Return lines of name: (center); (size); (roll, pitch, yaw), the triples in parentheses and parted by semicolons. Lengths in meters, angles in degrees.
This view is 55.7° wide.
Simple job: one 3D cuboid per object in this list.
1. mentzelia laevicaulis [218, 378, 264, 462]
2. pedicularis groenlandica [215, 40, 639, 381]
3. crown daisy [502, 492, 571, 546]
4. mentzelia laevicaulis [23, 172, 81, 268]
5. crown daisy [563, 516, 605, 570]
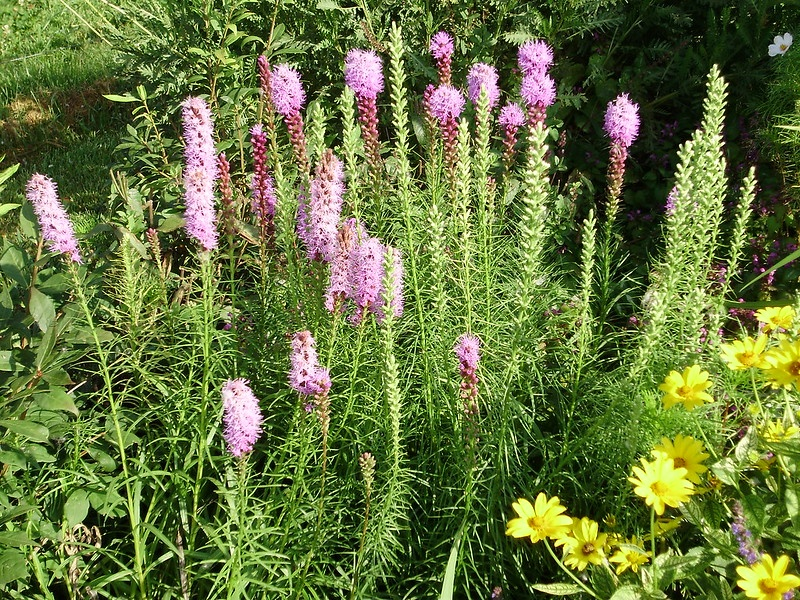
mentzelia laevicaulis: (-0.626, 0.433, 2.952); (0.151, 0.371, 0.198); (-6, 15, -18)
pedicularis groenlandica: (0.100, -0.466, 4.140); (0.861, 1.806, 1.418); (10, 26, 15)
crown daisy: (0.586, 0.911, 3.192); (0.341, 0.192, 0.295); (-1, -12, -7)
mentzelia laevicaulis: (-1.511, -0.351, 3.339); (0.169, 0.524, 0.187); (9, 22, 31)
crown daisy: (0.761, 1.021, 3.167); (0.194, 0.218, 0.101); (-18, -20, 8)
